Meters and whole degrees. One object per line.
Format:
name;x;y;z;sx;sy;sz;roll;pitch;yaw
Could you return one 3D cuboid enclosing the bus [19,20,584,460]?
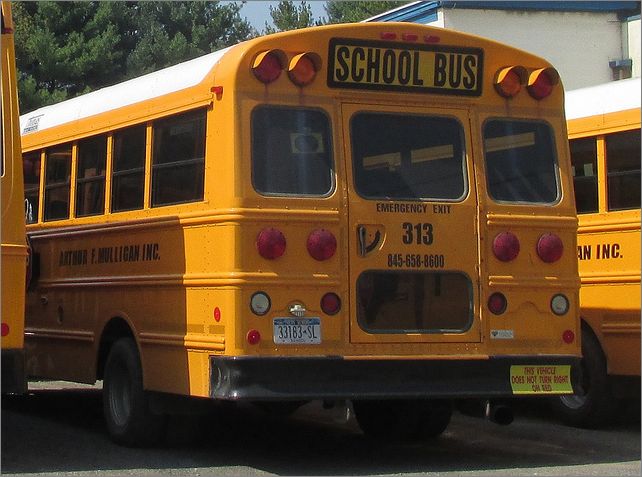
bus;-0.056;0.216;9.108;3.430;3.674;7.461;1;-4;-14
